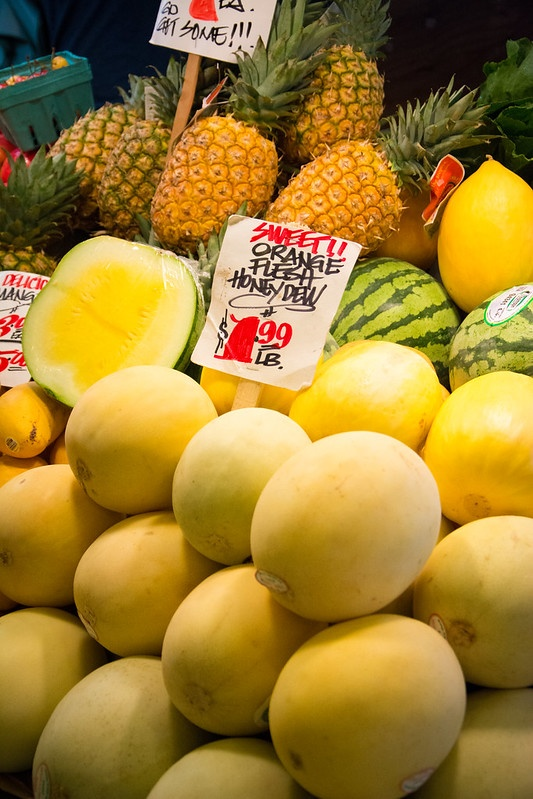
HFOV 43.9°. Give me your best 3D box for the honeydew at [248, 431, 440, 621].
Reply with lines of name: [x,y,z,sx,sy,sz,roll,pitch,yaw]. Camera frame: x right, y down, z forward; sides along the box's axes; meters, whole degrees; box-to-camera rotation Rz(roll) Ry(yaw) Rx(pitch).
honeydew: [0.078,0.132,0.679,0.167,0.145,0.127,10,32,6]

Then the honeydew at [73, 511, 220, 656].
honeydew: [-0.150,0.250,0.886,0.206,0.153,0.152,-8,11,-38]

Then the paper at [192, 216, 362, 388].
paper: [0.009,-0.155,1.064,0.291,0.304,0.014,20,4,20]

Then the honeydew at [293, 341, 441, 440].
honeydew: [0.140,-0.030,0.997,0.212,0.163,0.163,-6,26,-4]
